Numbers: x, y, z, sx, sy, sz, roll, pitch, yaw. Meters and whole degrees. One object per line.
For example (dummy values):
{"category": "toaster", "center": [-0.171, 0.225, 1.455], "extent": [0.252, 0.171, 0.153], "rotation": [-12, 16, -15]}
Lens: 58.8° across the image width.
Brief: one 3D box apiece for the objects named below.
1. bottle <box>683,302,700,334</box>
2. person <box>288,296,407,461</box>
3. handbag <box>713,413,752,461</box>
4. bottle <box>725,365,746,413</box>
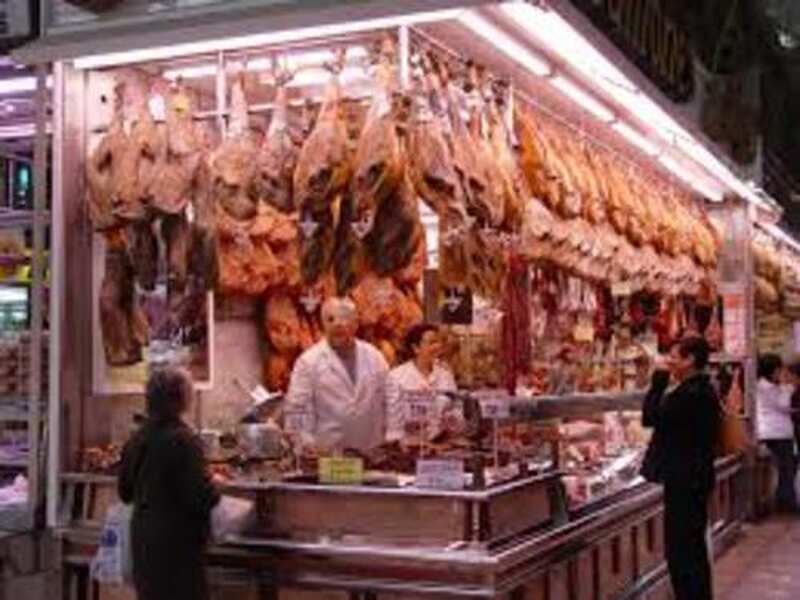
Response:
{"category": "bottle", "center": [3.794, 0.220, 9.181], "extent": [0.180, 0.391, 0.529], "rotation": [0, 1, 23]}
{"category": "person", "center": [-0.368, 0.480, 4.476], "extent": [0.682, 1.284, 0.634], "rotation": [0, -32, -13]}
{"category": "handbag", "center": [2.525, 1.034, 5.403], "extent": [0.233, 0.235, 0.110], "rotation": [-12, 15, 12]}
{"category": "bottle", "center": [4.112, 1.094, 8.709], "extent": [0.255, 0.577, 0.117], "rotation": [-1, 1, -21]}
